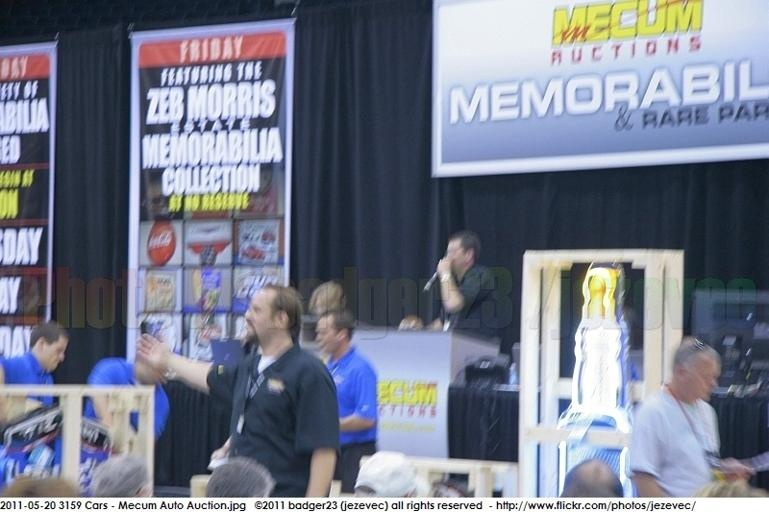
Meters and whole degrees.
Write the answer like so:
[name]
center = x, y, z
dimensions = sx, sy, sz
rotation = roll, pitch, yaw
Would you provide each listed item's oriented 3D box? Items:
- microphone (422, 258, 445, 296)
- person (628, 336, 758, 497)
[microphone]
center = 0.416, 0.194, 13.122
dimensions = 0.064, 0.353, 0.061
rotation = 27, 8, -44
[person]
center = 2.005, 1.138, 10.623
dimensions = 0.688, 1.101, 0.288
rotation = 0, -3, -4
